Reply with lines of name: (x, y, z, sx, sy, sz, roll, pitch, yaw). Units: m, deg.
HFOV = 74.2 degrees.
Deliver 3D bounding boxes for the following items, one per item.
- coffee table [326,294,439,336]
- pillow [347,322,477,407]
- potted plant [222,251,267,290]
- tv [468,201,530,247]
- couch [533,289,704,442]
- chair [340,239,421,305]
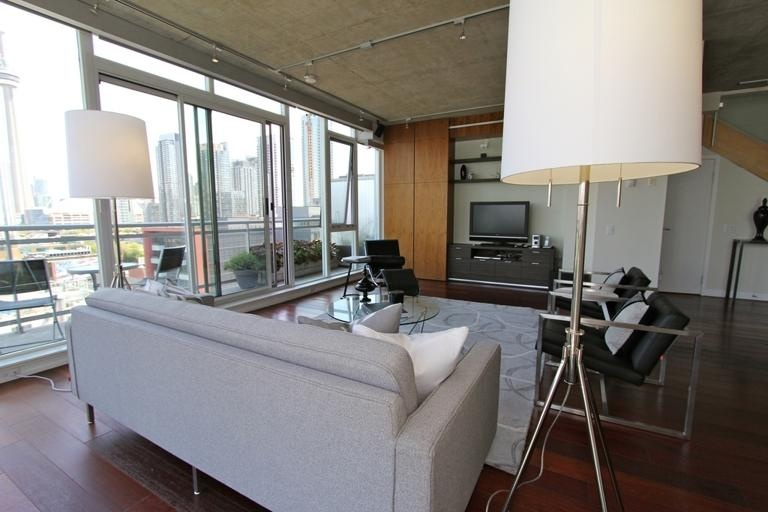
coffee table: (0.005, 0.576, 5.335, 0.685, 0.146, 0.623, 4, 15, 14)
pillow: (0.110, 0.641, 3.675, 0.857, 0.909, 0.505, 1, 12, 2)
potted plant: (-1.875, 0.205, 6.902, 0.503, 0.459, 0.491, 1, 5, 25)
tv: (1.954, -0.546, 8.502, 0.877, 0.558, 0.251, 2, 4, 26)
couch: (2.060, 0.937, 4.572, 1.422, 1.059, 1.318, 1, 5, 22)
chair: (-0.044, 0.183, 7.110, 0.989, 0.754, 0.936, -1, 4, -28)
